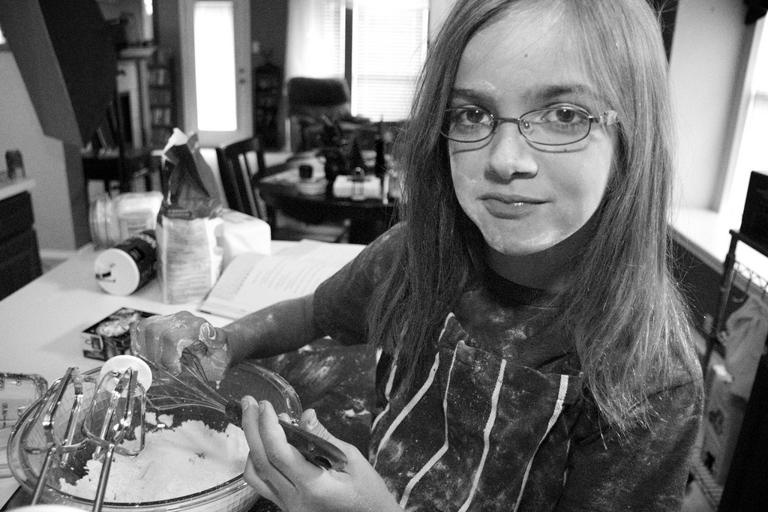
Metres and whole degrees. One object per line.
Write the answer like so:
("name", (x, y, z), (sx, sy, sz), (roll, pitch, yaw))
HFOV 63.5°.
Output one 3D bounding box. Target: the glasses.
("glasses", (0.242, -0.215, 1.018), (0.275, 0.074, 0.071), (8, 23, 18))
